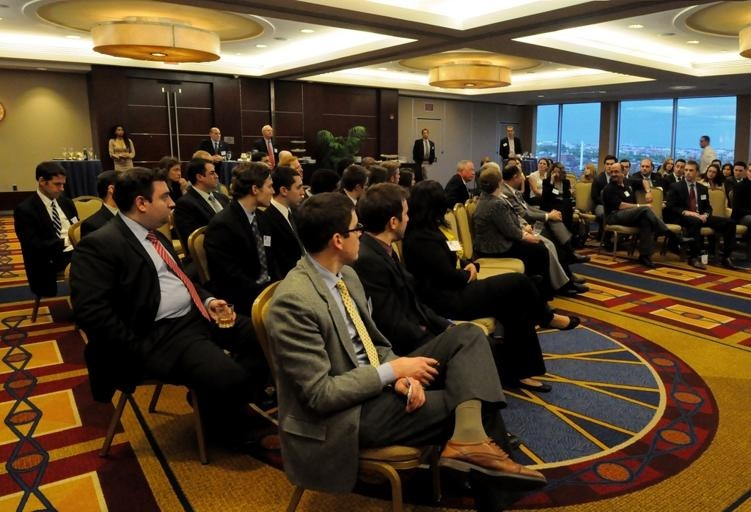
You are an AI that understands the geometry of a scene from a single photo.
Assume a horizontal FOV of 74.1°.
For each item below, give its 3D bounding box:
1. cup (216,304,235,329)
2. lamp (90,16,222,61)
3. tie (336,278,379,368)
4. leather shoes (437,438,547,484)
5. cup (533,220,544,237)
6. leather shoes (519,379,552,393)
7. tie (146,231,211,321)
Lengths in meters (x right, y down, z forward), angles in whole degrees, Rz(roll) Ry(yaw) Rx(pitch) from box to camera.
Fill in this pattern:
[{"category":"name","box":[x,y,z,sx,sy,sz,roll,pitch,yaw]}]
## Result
[{"category":"cup","box":[-0.916,0.372,3.075,0.072,0.127,0.130,4,14,16]},{"category":"lamp","box":[-3.543,-3.581,8.338,1.110,0.229,1.109,0,2,33]},{"category":"tie","box":[-0.106,0.364,2.614,0.059,0.484,0.091,-37,-11,37]},{"category":"leather shoes","box":[0.532,1.000,2.512,0.628,0.238,0.192,7,-21,0]},{"category":"cup","box":[1.947,-0.333,5.952,0.115,0.053,0.390,9,24,23]},{"category":"leather shoes","box":[1.246,1.000,3.887,0.224,0.074,0.108,-5,-2,28]},{"category":"tie","box":[-1.357,0.152,3.428,0.084,0.735,0.099,-43,13,-35]}]
